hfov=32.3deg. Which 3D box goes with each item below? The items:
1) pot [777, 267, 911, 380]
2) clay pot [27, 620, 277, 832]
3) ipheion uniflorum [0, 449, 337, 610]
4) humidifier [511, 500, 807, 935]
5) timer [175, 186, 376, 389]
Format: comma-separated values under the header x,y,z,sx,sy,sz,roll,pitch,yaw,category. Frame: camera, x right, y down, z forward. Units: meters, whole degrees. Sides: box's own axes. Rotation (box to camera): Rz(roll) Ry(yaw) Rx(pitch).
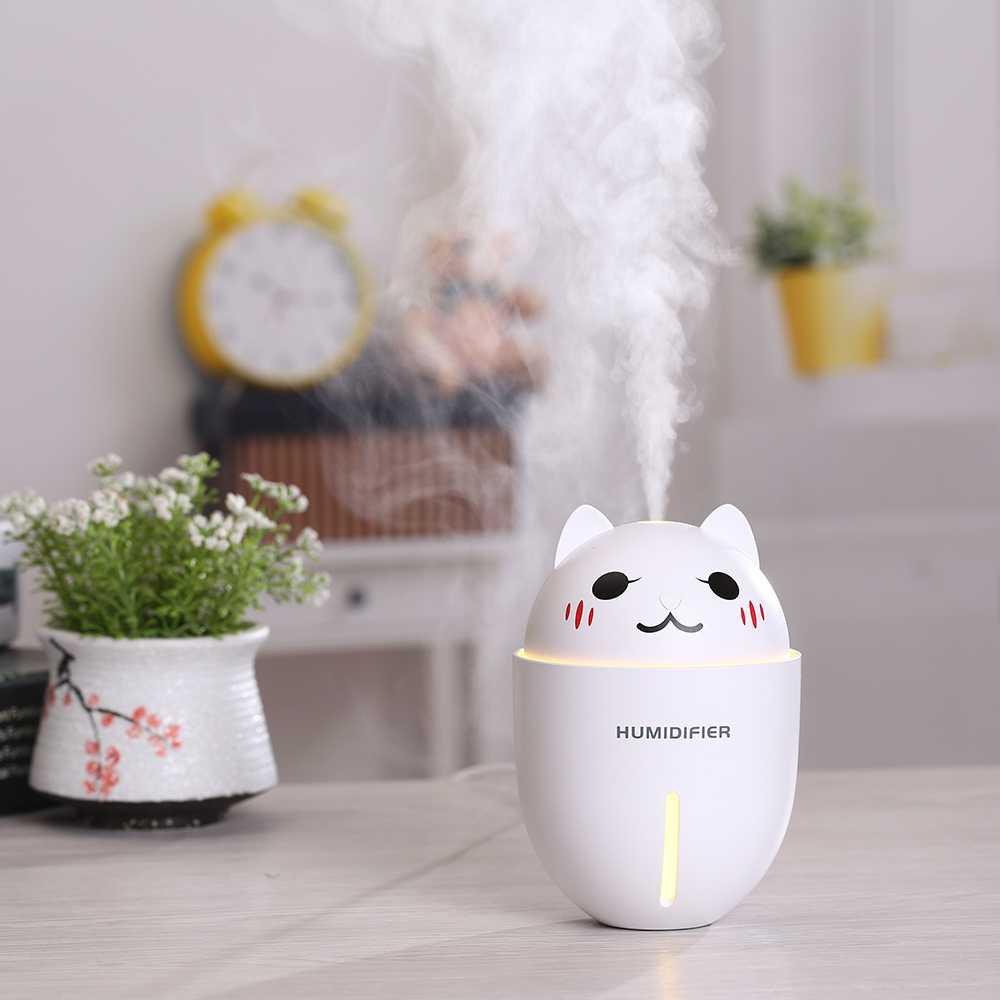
x,y,z,sx,sy,sz,roll,pitch,yaw,category
0.277,-0.140,1.404,0.091,0.070,0.082,-5,-3,14,pot
-0.224,0.149,1.144,0.137,0.104,0.138,0,-4,0,clay pot
-0.228,0.030,1.221,0.181,0.097,0.140,1,-2,-6,ipheion uniflorum
0.090,0.121,0.992,0.164,0.235,0.157,0,5,-2,humidifier
-0.183,-0.171,1.371,0.153,0.180,0.066,1,-4,-12,timer
